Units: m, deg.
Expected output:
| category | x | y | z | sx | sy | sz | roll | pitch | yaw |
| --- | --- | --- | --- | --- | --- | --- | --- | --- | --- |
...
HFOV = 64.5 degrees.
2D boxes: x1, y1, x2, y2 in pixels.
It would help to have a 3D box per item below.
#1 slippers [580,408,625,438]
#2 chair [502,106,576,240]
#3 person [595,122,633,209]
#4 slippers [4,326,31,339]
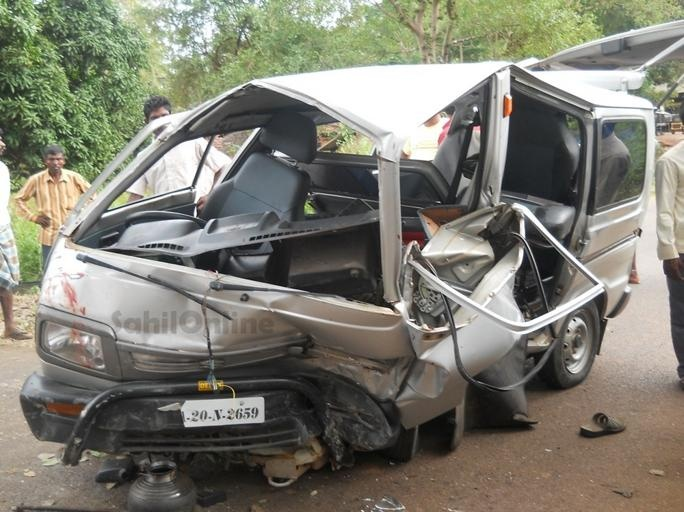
| category | x | y | z | sx | sy | sz | roll | pitch | yaw |
| --- | --- | --- | --- | --- | --- | --- | --- | --- | --- |
| slippers | 2.043 | 1.336 | 4.301 | 0.285 | 0.106 | 0.194 | -8 | 8 | -15 |
| chair | 1.810 | -1.043 | 5.350 | 0.646 | 0.951 | 0.538 | 12 | 49 | 15 |
| person | 2.445 | -0.827 | 4.910 | 0.378 | 0.629 | 0.717 | 8 | 24 | 29 |
| slippers | -4.011 | 0.948 | 6.753 | 0.319 | 0.119 | 0.148 | 2 | 7 | -2 |
